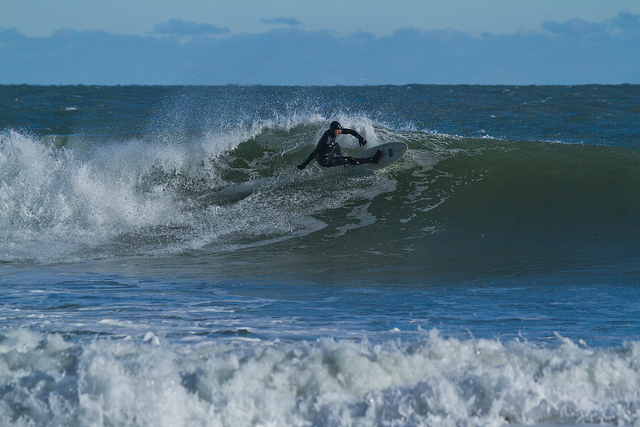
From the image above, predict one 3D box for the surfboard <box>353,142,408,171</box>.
[{"bbox_3d":[1.653,-1.499,24.650,1.824,0.467,0.257,-10,-5,31],"label":"surfboard"}]
